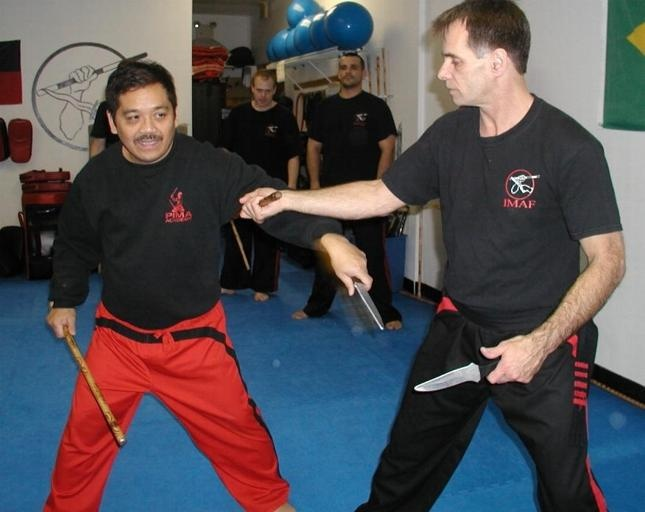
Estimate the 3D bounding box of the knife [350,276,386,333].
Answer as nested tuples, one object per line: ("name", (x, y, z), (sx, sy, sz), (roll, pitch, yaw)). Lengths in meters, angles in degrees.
("knife", (0.143, 0.146, 1.785), (0.049, 0.026, 0.325), (0, 33, -14))
